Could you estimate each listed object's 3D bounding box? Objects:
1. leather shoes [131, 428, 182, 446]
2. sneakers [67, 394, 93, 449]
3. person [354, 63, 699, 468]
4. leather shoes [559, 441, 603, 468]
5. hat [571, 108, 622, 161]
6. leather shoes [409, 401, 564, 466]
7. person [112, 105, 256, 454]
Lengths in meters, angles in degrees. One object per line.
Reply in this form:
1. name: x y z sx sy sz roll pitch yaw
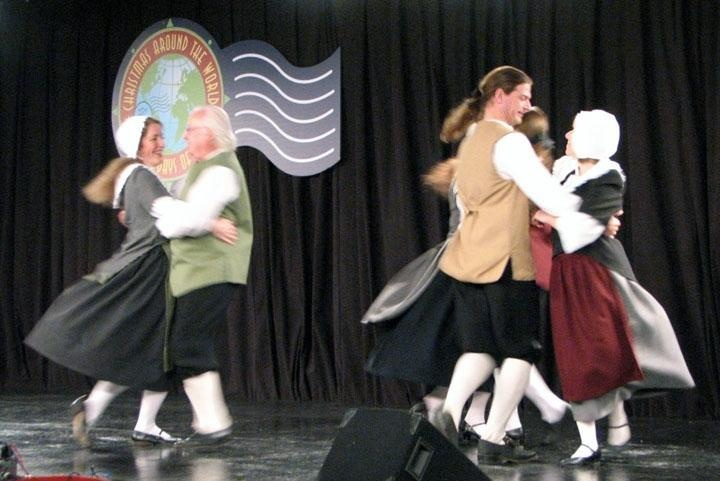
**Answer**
1. leather shoes: -1.189 1.140 5.036 0.306 0.094 0.107 2 -10 -9
2. sneakers: -1.582 1.029 4.915 0.093 0.262 0.199 -2 9 -22
3. person: 0.932 0.119 4.619 1.541 2.109 0.437 0 1 -9
4. leather shoes: 1.176 1.137 4.603 0.189 0.080 0.103 -1 -5 -6
5. hat: 1.274 -0.569 4.664 0.298 0.280 0.214 0 4 6
6. leather shoes: 0.653 1.012 4.531 0.561 0.213 0.170 24 -12 -7
7. person: -0.889 0.167 4.871 0.550 1.882 0.264 -1 1 -11
